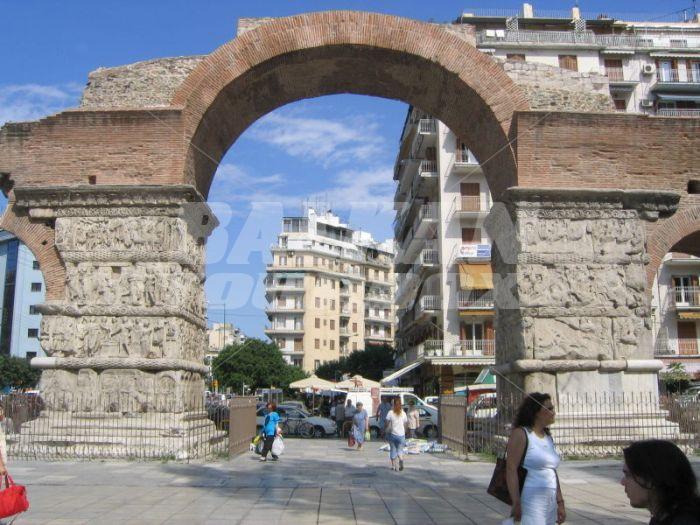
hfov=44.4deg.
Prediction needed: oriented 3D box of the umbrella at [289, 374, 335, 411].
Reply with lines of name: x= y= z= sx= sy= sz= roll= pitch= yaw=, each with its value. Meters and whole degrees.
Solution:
umbrella: x=-1.787 y=5.901 z=40.536 sx=2.161 sy=0.962 sz=2.237 roll=6 pitch=-10 yaw=-23

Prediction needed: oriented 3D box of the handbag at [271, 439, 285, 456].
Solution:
handbag: x=-1.793 y=4.563 z=21.101 sx=0.268 sy=0.509 sz=0.249 roll=0 pitch=-2 yaw=-12

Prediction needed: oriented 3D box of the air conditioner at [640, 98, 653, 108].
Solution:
air conditioner: x=14.615 y=-7.858 z=42.423 sx=0.712 sy=0.384 sz=0.456 roll=5 pitch=-4 yaw=0

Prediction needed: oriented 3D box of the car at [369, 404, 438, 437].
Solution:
car: x=1.852 y=5.510 z=29.926 sx=2.287 sy=1.035 sz=1.259 roll=4 pitch=-12 yaw=4

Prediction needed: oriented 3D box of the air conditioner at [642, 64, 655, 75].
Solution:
air conditioner: x=14.911 y=-9.640 z=42.845 sx=0.761 sy=0.553 sz=0.354 roll=1 pitch=-2 yaw=-21

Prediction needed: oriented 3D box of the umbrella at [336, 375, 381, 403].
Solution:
umbrella: x=0.289 y=5.229 z=33.926 sx=1.598 sy=0.641 sz=1.631 roll=-2 pitch=-5 yaw=18
